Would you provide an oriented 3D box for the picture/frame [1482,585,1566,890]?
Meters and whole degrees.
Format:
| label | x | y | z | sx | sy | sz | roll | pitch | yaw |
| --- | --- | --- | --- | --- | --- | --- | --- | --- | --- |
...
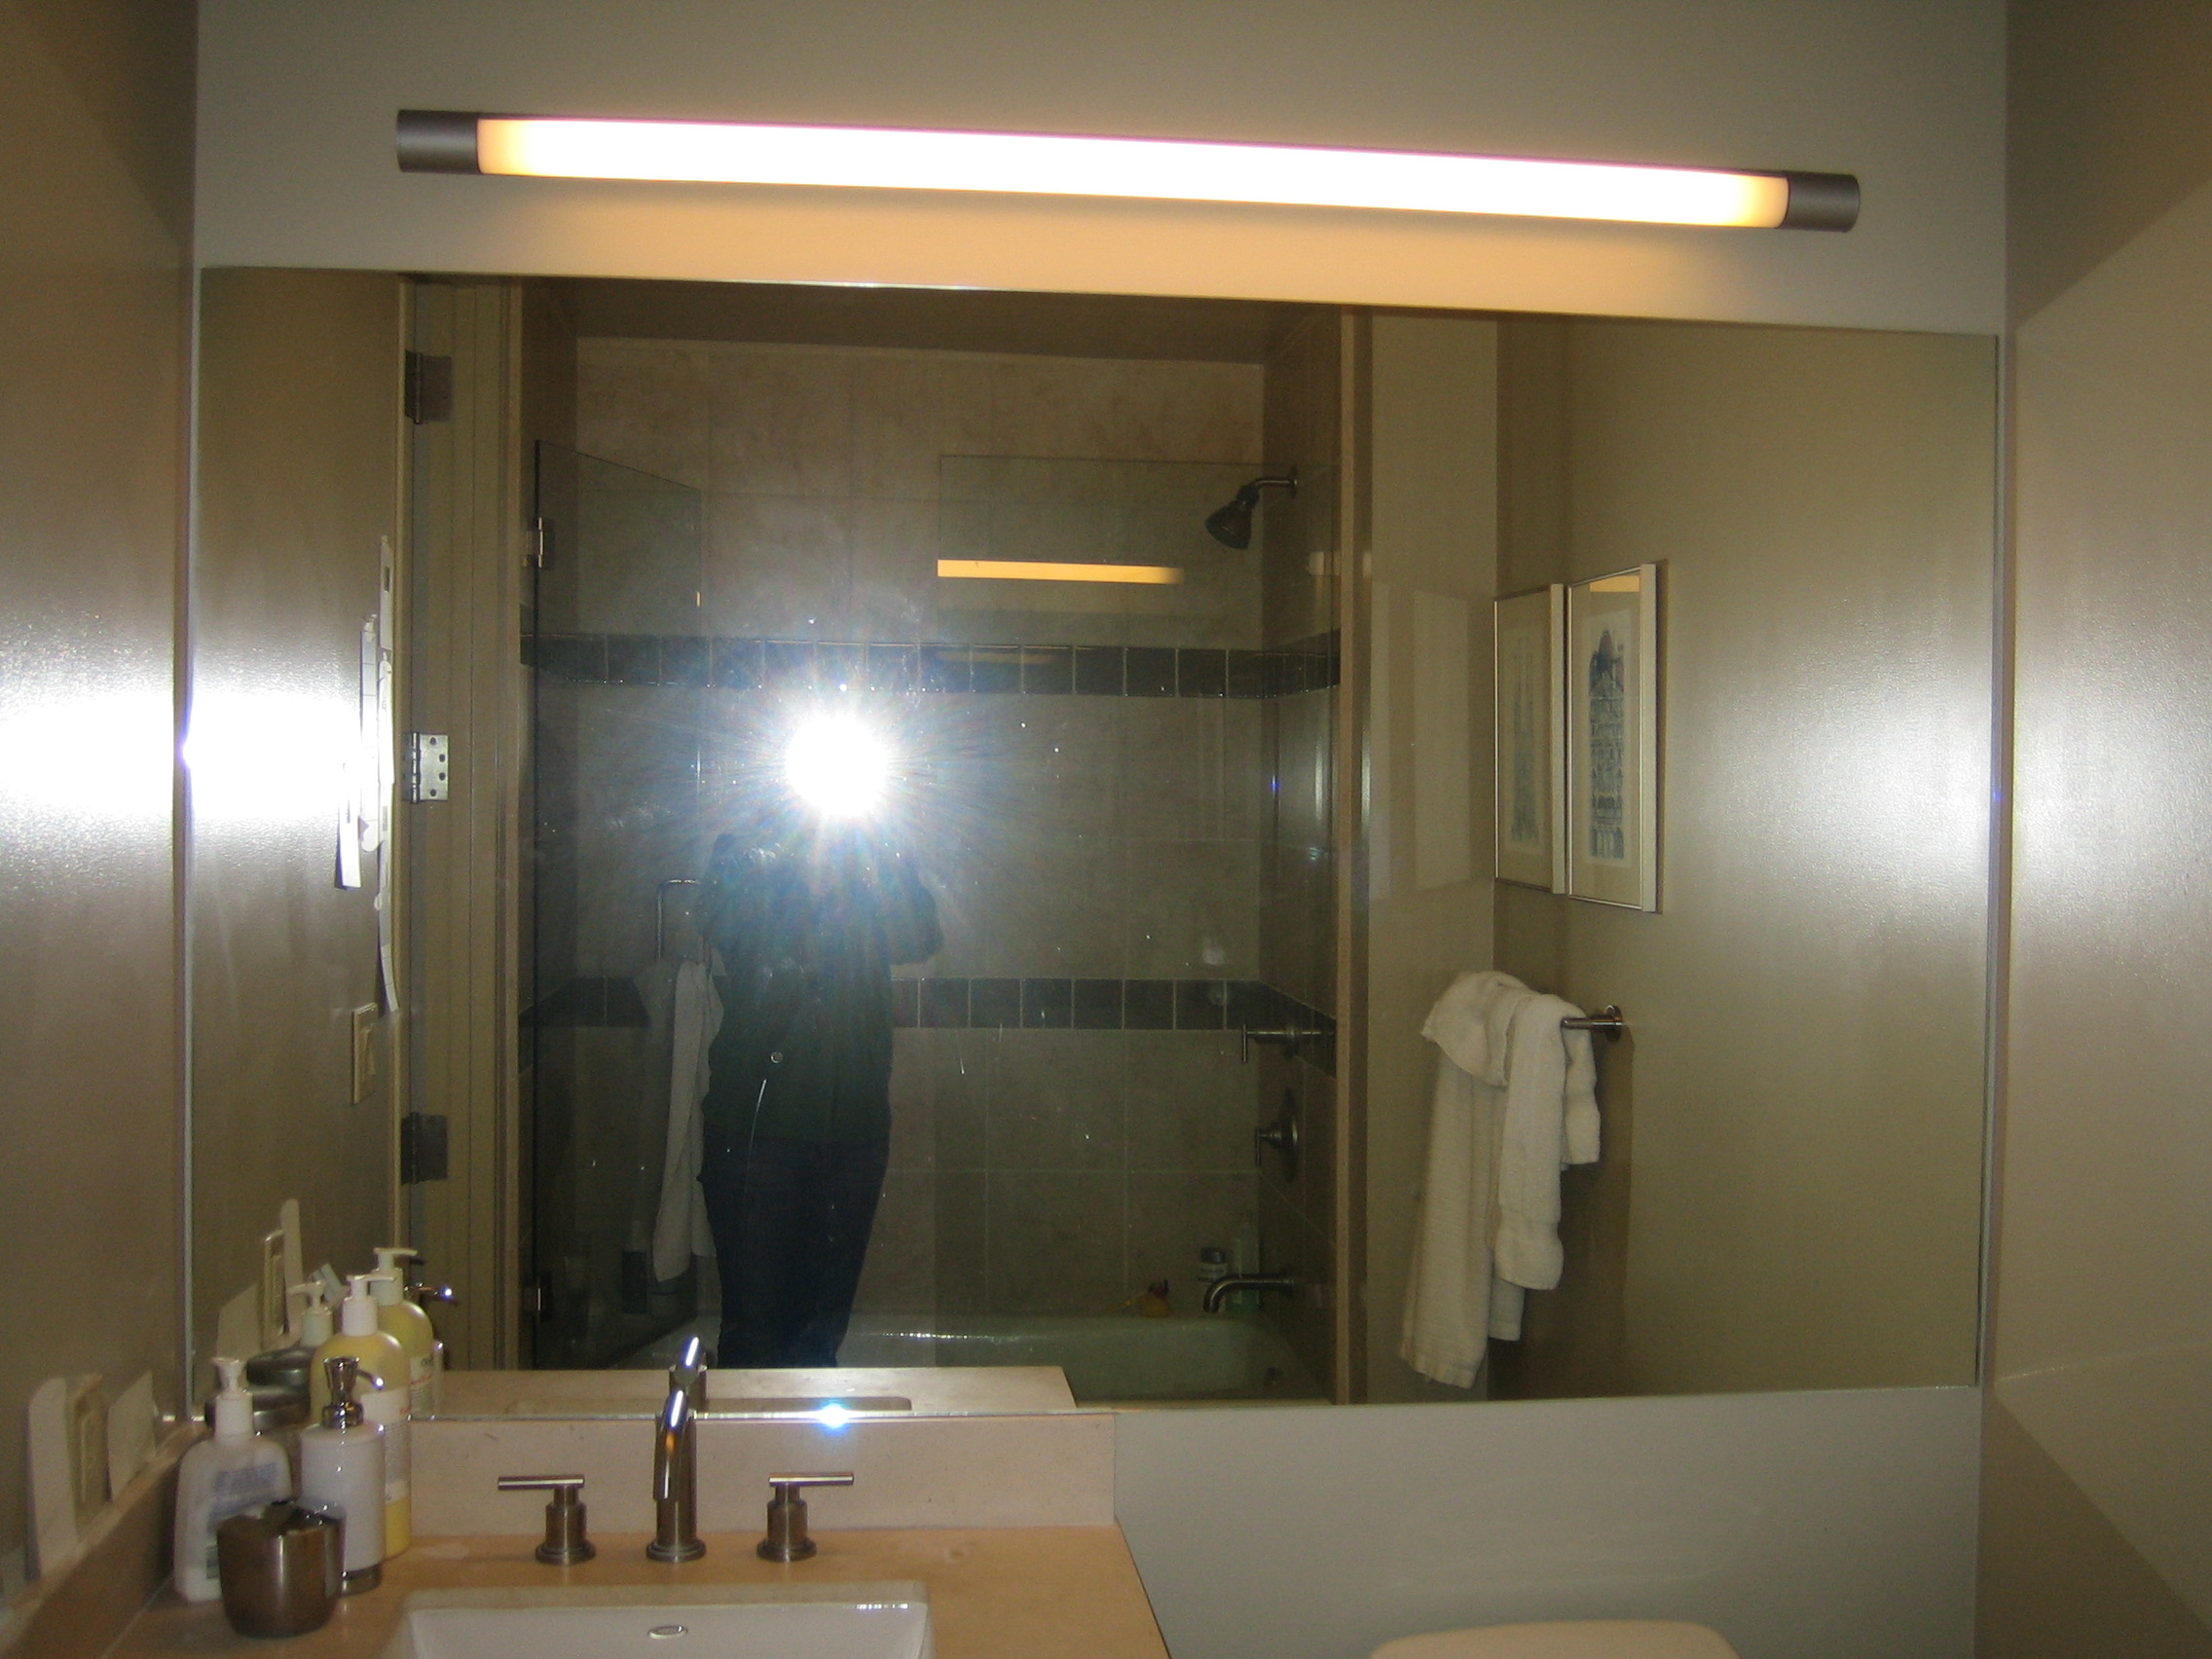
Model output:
| label | x | y | z | sx | sy | sz | roll | pitch | yaw |
| --- | --- | --- | --- | --- | --- | --- | --- | --- | --- |
| picture/frame | 0.495 | -0.110 | 2.226 | 0.081 | 0.380 | 0.012 | 0 | -21 | 14 |

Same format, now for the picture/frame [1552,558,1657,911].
| label | x | y | z | sx | sy | sz | roll | pitch | yaw |
| --- | --- | --- | --- | --- | --- | --- | --- | --- | --- |
| picture/frame | 0.597 | -0.110 | 2.229 | 0.020 | 0.392 | 0.157 | 2 | -3 | -30 |

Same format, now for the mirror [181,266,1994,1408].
| label | x | y | z | sx | sy | sz | roll | pitch | yaw |
| --- | --- | --- | --- | --- | --- | --- | --- | --- | --- |
| mirror | -0.220 | -0.007 | 2.225 | 1.470 | 1.227 | 0.016 | 1 | -7 | 14 |

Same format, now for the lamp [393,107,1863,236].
| label | x | y | z | sx | sy | sz | roll | pitch | yaw |
| --- | --- | --- | --- | --- | --- | --- | --- | --- | --- |
| lamp | -0.045 | -0.744 | 2.144 | 1.830 | 0.098 | 0.135 | 0 | -32 | -5 |

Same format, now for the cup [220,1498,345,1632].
| label | x | y | z | sx | sy | sz | roll | pitch | yaw |
| --- | --- | --- | --- | --- | --- | --- | --- | --- | --- |
| cup | -0.836 | 0.748 | 1.919 | 0.120 | 0.106 | 0.092 | 11 | -17 | -38 |

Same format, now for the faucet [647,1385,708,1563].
| label | x | y | z | sx | sy | sz | roll | pitch | yaw |
| --- | --- | --- | --- | --- | --- | --- | --- | --- | --- |
| faucet | -0.475 | 0.712 | 2.097 | 0.060 | 0.188 | 0.085 | 0 | -9 | -14 |
